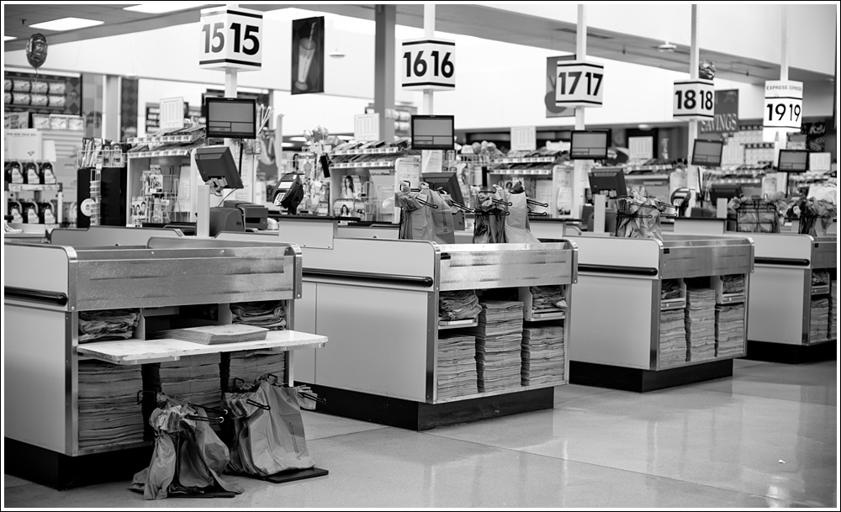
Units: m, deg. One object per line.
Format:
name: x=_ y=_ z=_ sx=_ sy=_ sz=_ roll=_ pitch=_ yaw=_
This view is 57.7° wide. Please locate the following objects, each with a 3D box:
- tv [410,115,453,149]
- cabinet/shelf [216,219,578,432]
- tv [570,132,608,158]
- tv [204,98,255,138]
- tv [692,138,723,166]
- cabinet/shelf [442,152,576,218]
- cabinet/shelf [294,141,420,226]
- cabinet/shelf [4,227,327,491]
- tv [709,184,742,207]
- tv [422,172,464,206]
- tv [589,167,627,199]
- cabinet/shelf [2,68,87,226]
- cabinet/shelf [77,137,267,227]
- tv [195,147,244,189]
tv: x=0.166 y=-1.977 z=12.238 sx=0.675 sy=0.458 sz=0.086 roll=-1 pitch=4 yaw=-16
cabinet/shelf: x=-0.243 y=0.643 z=8.070 sx=1.976 sy=1.476 sz=2.592 roll=-1 pitch=1 yaw=-44
tv: x=2.955 y=-1.927 z=13.291 sx=0.488 sy=0.349 sz=0.063 roll=1 pitch=3 yaw=24
tv: x=-2.720 y=-1.941 z=10.799 sx=0.616 sy=0.487 sz=0.228 roll=-1 pitch=4 yaw=-30
tv: x=5.542 y=-1.988 z=14.788 sx=0.654 sy=0.453 sz=0.064 roll=1 pitch=4 yaw=-31
cabinet/shelf: x=1.528 y=-1.151 z=12.335 sx=0.669 sy=1.056 sz=1.719 roll=0 pitch=1 yaw=-44
cabinet/shelf: x=-0.908 y=-1.058 z=11.458 sx=1.698 sy=1.231 sz=0.599 roll=3 pitch=2 yaw=42
cabinet/shelf: x=-2.497 y=0.782 z=6.466 sx=2.426 sy=1.588 sz=1.846 roll=0 pitch=1 yaw=44
tv: x=6.677 y=-1.318 z=16.764 sx=0.589 sy=0.380 sz=4.222 roll=1 pitch=8 yaw=22
tv: x=0.320 y=-0.917 z=9.818 sx=0.555 sy=0.251 sz=0.542 roll=7 pitch=3 yaw=18
tv: x=2.630 y=-1.011 z=10.542 sx=0.379 sy=0.392 sz=0.844 roll=-4 pitch=7 yaw=-14
cabinet/shelf: x=-9.204 y=-2.833 z=18.794 sx=1.786 sy=3.618 sz=3.328 roll=-5 pitch=8 yaw=-23
cabinet/shelf: x=-3.609 y=-1.024 z=10.911 sx=1.681 sy=1.125 sz=0.858 roll=0 pitch=-1 yaw=34
tv: x=-2.208 y=-0.974 z=8.396 sx=0.696 sy=0.459 sz=0.278 roll=5 pitch=10 yaw=42
